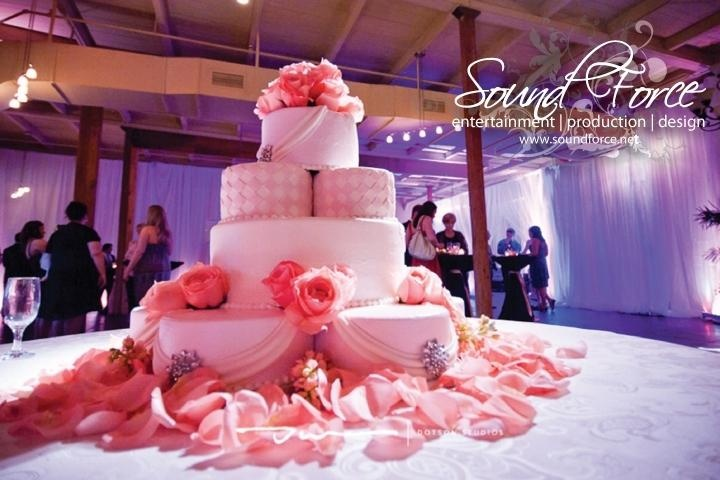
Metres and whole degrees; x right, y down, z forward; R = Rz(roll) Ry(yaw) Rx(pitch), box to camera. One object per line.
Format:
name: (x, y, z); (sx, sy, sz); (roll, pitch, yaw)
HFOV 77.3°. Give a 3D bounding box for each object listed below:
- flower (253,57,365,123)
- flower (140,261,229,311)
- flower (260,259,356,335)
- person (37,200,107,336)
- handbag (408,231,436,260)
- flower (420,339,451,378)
flower: (-0.380, -1.162, 3.470); (0.599, 0.578, 0.358); (-7, -37, -18)
flower: (-1.208, 0.339, 3.121); (0.474, 0.230, 0.334); (-21, 29, -25)
flower: (-0.343, 0.394, 2.995); (0.481, 0.512, 0.248); (19, -21, 0)
person: (-3.240, 0.420, 5.180); (0.588, 1.672, 0.582); (2, -3, -2)
handbag: (0.884, 0.082, 6.255); (0.426, 0.420, 0.207); (6, 40, 26)
flower: (0.487, 0.780, 3.068); (0.238, 0.233, 0.071); (20, -6, -26)
